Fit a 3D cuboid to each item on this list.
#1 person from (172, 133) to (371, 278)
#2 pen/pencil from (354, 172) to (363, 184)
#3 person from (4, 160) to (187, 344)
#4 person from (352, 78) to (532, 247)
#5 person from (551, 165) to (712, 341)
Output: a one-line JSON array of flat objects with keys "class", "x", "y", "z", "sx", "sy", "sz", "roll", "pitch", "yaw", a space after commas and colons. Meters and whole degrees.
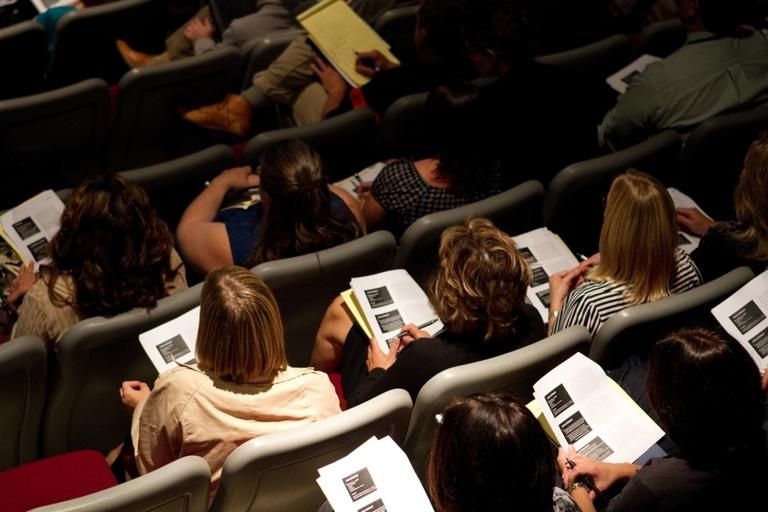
[{"class": "person", "x": -0.581, "y": -0.240, "z": 2.889, "sx": 0.448, "sy": 0.480, "sz": 0.826, "roll": -26, "pitch": -1, "yaw": -17}, {"class": "pen/pencil", "x": -0.154, "y": -0.473, "z": 3.446, "sx": 0.023, "sy": 0.096, "sz": 0.022, "roll": -36, "pitch": -21, "yaw": 2}, {"class": "person", "x": -1.306, "y": 0.007, "z": 2.594, "sx": 0.557, "sy": 0.512, "sz": 0.897, "roll": -16, "pitch": -27, "yaw": -21}, {"class": "person", "x": 0.284, "y": -0.568, "z": 3.310, "sx": 0.701, "sy": 0.801, "sz": 1.324, "roll": -15, "pitch": -34, "yaw": -13}, {"class": "person", "x": 1.181, "y": -0.003, "z": 2.750, "sx": 0.490, "sy": 0.762, "sz": 0.508, "roll": -14, "pitch": 48, "yaw": -5}]
